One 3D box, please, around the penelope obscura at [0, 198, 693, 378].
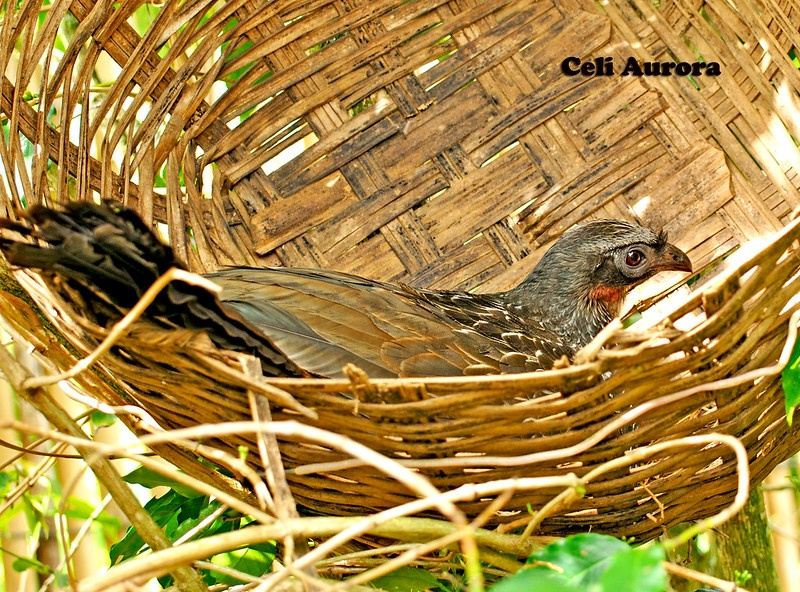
[{"bbox_3d":[-0.073,-0.010,1.534,0.795,0.234,0.189,7,29,-21],"label":"penelope obscura"}]
